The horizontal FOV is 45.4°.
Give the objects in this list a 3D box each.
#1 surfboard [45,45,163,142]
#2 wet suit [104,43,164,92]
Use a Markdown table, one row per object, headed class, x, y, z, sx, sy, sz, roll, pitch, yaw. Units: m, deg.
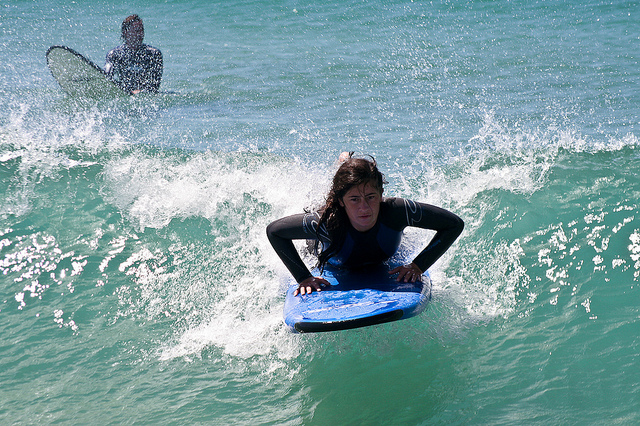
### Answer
| class | x | y | z | sx | sy | sz | roll | pitch | yaw |
| --- | --- | --- | --- | --- | --- | --- | --- | --- | --- |
| surfboard | -3.809 | -2.085 | 13.464 | 2.434 | 0.679 | 0.409 | 44 | 9 | -3 |
| wet suit | -3.408 | -2.639 | 14.084 | 1.088 | 0.877 | 0.589 | -15 | 42 | -18 |
